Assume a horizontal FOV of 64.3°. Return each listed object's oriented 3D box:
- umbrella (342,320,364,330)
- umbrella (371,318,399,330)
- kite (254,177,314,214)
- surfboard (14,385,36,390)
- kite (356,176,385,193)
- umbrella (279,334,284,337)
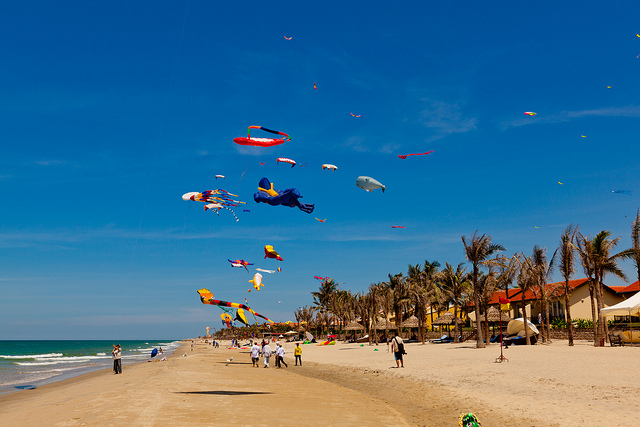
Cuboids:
[{"bbox_3d":[4.970,16.252,73.922,2.057,1.045,2.031,1,-19,2],"label":"umbrella"},{"bbox_3d":[8.365,14.560,66.836,2.267,0.945,2.233,1,-15,-6],"label":"umbrella"},{"bbox_3d":[-2.292,-1.084,31.904,3.763,1.967,2.696,5,7,10],"label":"kite"},{"bbox_3d":[-22.569,13.201,38.922,1.945,0.155,0.493,5,-10,-18],"label":"surfboard"},{"bbox_3d":[3.248,-1.992,34.350,1.939,1.235,1.309,-12,-18,36],"label":"kite"},{"bbox_3d":[-8.530,26.683,112.258,1.076,0.643,1.061,0,-17,0],"label":"umbrella"}]
